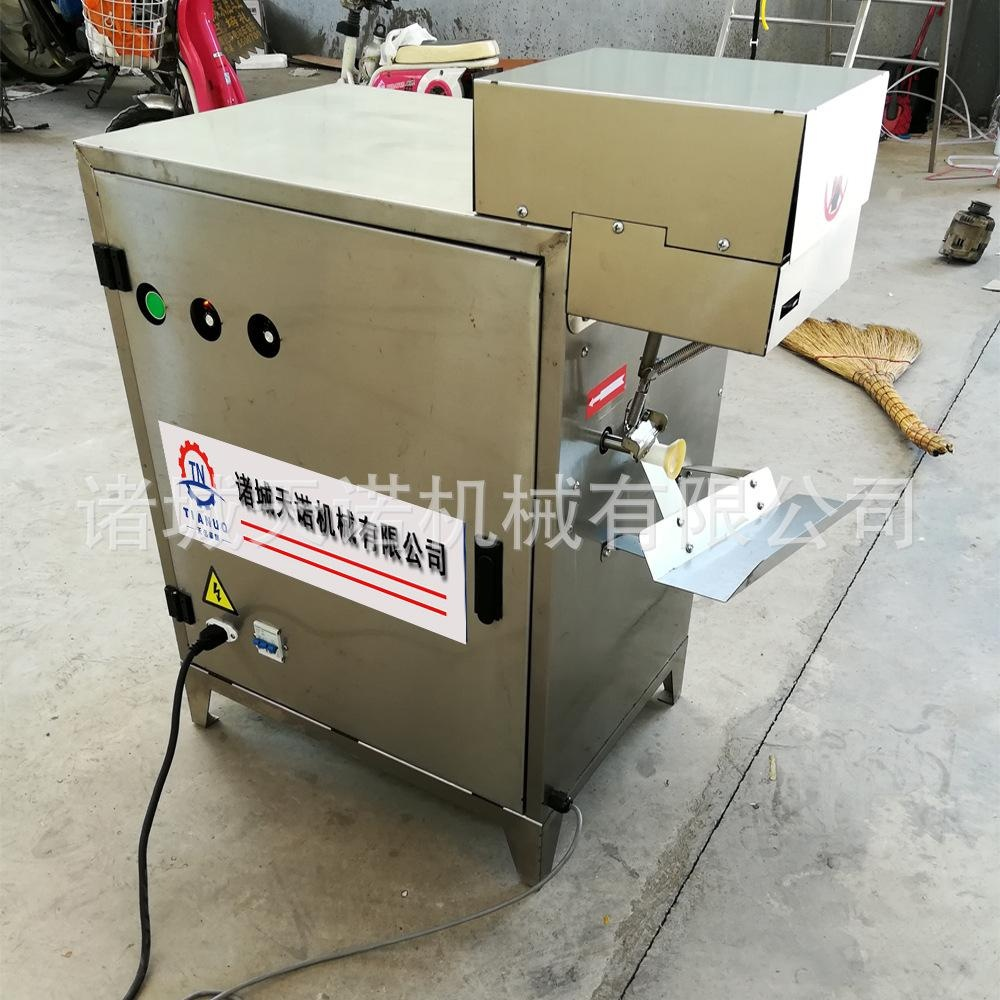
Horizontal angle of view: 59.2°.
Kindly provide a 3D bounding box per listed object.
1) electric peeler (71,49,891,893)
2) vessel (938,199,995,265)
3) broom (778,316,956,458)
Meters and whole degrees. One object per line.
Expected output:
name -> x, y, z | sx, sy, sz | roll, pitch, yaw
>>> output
electric peeler -> -0.034, -0.087, 1.316 | 0.942, 1.068, 0.577 | 14, 29, 23
vessel -> 1.851, -1.057, 3.478 | 0.166, 0.220, 0.214 | 15, 37, 24
broom -> 1.167, -0.427, 2.765 | 0.407, 0.110, 0.910 | -11, 28, -2
